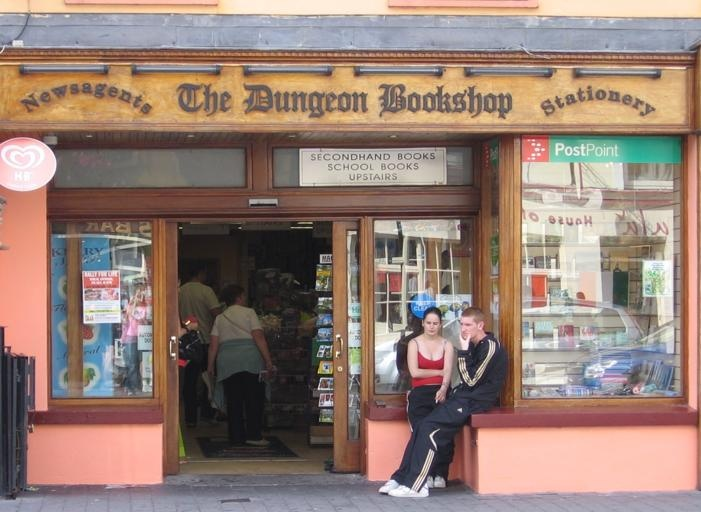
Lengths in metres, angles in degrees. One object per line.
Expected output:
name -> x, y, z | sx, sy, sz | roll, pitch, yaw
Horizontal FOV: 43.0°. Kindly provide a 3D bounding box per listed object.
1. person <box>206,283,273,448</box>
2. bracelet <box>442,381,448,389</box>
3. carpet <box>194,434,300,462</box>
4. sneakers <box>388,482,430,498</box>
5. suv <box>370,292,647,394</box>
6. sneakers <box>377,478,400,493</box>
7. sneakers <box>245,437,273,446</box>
person -> -1.478, 1.622, 12.230 | 0.817, 1.889, 0.390 | -1, -4, -5
bracelet -> 1.079, 1.462, 10.091 | 0.083, 0.025, 0.108 | 0, 8, 0
carpet -> -1.374, 2.568, 11.942 | 1.207, 0.113, 1.352 | -1, -3, -11
sneakers -> 0.639, 2.542, 9.694 | 0.460, 0.182, 0.151 | 2, -10, 2
suv -> 1.836, 1.110, 10.824 | 3.757, 1.209, 1.146 | 2, -8, -7
sneakers -> 0.447, 2.518, 9.744 | 0.282, 0.108, 0.104 | 0, -5, -44
sneakers -> -1.233, 2.530, 12.146 | 0.310, 0.115, 0.110 | 0, -5, 4
